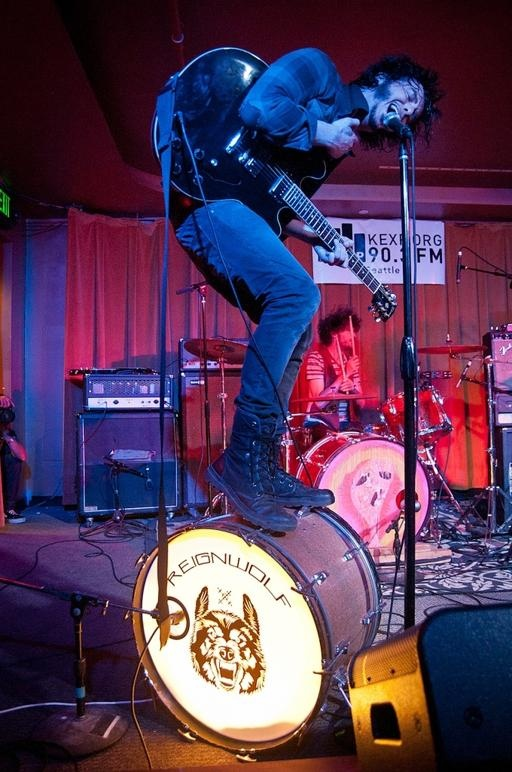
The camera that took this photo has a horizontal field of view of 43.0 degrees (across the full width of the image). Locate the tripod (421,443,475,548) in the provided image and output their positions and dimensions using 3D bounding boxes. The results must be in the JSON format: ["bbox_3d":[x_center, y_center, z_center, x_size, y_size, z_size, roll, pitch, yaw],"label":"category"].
[{"bbox_3d":[1.157,0.744,4.108,0.337,0.498,0.362,-5,2,5],"label":"tripod"}]

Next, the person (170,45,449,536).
[{"bbox_3d":[0.125,-0.332,1.804,0.703,1.289,0.473,10,-8,-11],"label":"person"}]

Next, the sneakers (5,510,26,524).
[{"bbox_3d":[-1.762,0.965,4.761,0.071,0.087,0.211,8,-12,-38],"label":"sneakers"}]

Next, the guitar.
[{"bbox_3d":[-0.007,-0.567,1.725,0.649,0.313,0.077,44,4,-16],"label":"guitar"}]

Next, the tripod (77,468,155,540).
[{"bbox_3d":[-0.940,0.760,4.414,0.494,0.472,0.479,-1,2,-12],"label":"tripod"}]

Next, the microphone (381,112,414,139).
[{"bbox_3d":[0.366,-0.677,1.683,0.042,0.123,0.033,16,-40,-40],"label":"microphone"}]

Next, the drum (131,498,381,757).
[{"bbox_3d":[-0.011,0.448,1.728,0.641,0.672,0.501,-2,1,27],"label":"drum"}]

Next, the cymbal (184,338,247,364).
[{"bbox_3d":[-0.248,-0.231,4.075,0.260,0.062,0.265,15,-19,-12],"label":"cymbal"}]

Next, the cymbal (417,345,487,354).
[{"bbox_3d":[1.406,-0.250,4.484,0.229,0.077,0.231,0,1,-23],"label":"cymbal"}]

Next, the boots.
[{"bbox_3d":[0.096,0.204,1.605,0.406,0.313,0.174,6,3,29],"label":"boots"}]

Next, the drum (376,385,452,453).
[{"bbox_3d":[1.048,0.159,4.076,0.440,0.485,0.444,-4,-3,37],"label":"drum"}]
